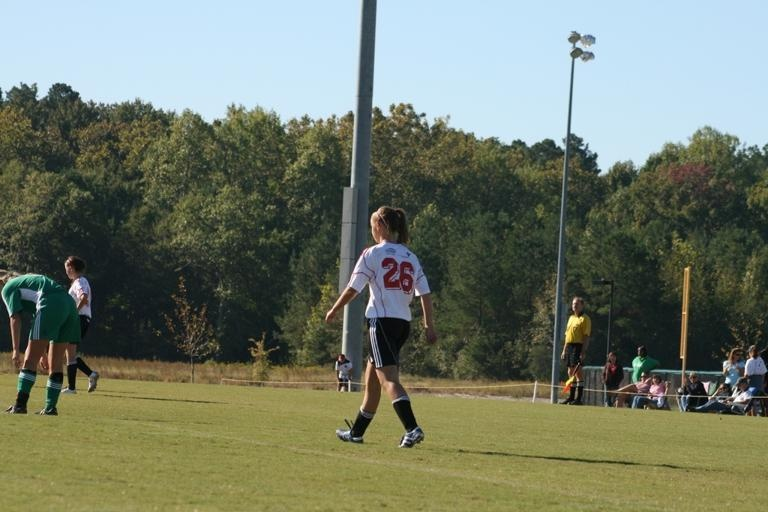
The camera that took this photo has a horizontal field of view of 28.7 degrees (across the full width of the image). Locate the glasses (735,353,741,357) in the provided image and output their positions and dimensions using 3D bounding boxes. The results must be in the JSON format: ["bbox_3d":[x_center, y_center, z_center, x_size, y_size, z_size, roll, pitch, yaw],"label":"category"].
[{"bbox_3d":[17.483,5.038,75.248,0.167,0.175,0.179,-2,-5,42],"label":"glasses"}]
